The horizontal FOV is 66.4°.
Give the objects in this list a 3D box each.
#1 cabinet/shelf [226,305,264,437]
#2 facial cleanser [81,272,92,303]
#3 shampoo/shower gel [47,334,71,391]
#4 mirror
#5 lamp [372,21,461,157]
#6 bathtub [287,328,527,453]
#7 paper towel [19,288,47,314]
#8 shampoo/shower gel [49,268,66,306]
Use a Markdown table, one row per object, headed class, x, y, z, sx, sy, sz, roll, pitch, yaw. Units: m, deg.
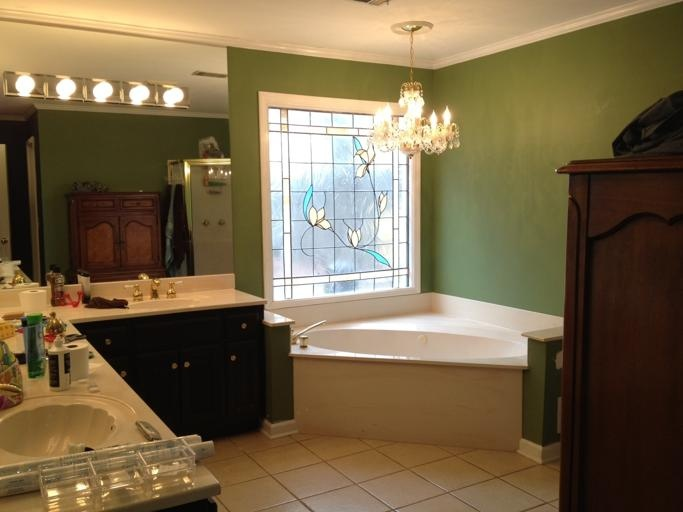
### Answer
| class | x | y | z | sx | sy | sz | roll | pitch | yaw |
| --- | --- | --- | --- | --- | --- | --- | --- | --- | --- |
| cabinet/shelf | -0.705 | 0.784 | 3.759 | 0.319 | 0.818 | 0.150 | -6 | 12 | -19 |
| facial cleanser | -1.824 | 0.223 | 3.713 | 0.060 | 0.195 | 0.086 | -9 | 13 | -31 |
| shampoo/shower gel | -1.136 | 0.425 | 2.096 | 0.089 | 0.168 | 0.190 | -8 | 13 | -29 |
| mirror | -1.717 | -0.446 | 3.841 | 1.348 | 1.402 | 0.509 | -1 | 1 | -28 |
| lamp | 0.568 | -1.304 | 4.116 | 0.656 | 0.959 | 0.669 | -14 | 20 | -27 |
| bathtub | 0.547 | 0.899 | 4.139 | 1.803 | 0.610 | 1.113 | 0 | 12 | 11 |
| paper towel | -1.885 | 0.282 | 3.184 | 0.127 | 0.123 | 0.129 | 2 | 3 | 33 |
| shampoo/shower gel | -1.986 | 0.209 | 3.637 | 0.106 | 0.248 | 0.176 | -8 | 13 | -27 |
